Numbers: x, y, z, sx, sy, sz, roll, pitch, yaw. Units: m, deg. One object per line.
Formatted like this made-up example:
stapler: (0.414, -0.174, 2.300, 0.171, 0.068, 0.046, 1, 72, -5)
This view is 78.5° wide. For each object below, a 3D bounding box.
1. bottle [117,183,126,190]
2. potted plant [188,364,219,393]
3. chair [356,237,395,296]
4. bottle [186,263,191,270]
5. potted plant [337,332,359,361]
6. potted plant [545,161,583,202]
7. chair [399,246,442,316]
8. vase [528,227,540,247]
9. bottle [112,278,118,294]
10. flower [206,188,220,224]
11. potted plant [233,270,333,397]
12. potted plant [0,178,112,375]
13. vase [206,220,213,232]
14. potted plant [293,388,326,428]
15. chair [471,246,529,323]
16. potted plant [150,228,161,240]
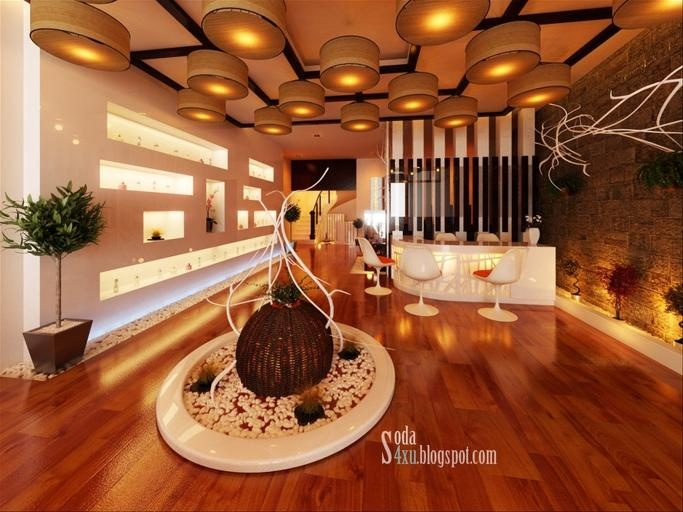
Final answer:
bottle: (-2.960, -0.933, 5.643, 0.102, 0.120, 0.326, -5, 10, -27)
potted plant: (-1.348, 1.192, 4.091, 0.192, 0.143, 0.252, -2, 0, -8)
chair: (0.577, 0.159, 7.081, 0.599, 0.925, 0.555, -2, 9, -22)
bottle: (-2.558, 0.185, 6.997, 0.068, 0.036, 0.093, 5, -24, -16)
potted plant: (0.091, 1.024, 4.625, 0.223, 0.142, 0.349, 3, 9, 19)
potted plant: (3.334, -1.111, 6.262, 0.430, 0.575, 0.562, 1, 12, 7)
chair: (1.171, 0.336, 6.031, 0.585, 0.944, 0.678, 5, 7, 36)
vase: (2.920, -0.290, 6.380, 0.148, 0.245, 0.366, 4, 10, 24)
bottle: (-3.013, 0.391, 5.583, 0.056, 0.165, 0.172, -3, 9, -20)
flower: (-2.445, -0.908, 7.920, 0.203, 0.604, 0.094, -6, 11, -35)
potted plant: (-0.564, 0.691, 4.223, 0.923, 0.922, 0.956, 5, 10, 5)
potted plant: (-3.100, 0.178, 4.591, 0.876, 1.937, 0.936, -8, 12, -43)
vase: (-2.471, -0.541, 7.833, 0.107, 0.191, 0.204, -1, 9, -8)
potted plant: (-0.286, 1.353, 3.772, 0.286, 0.225, 0.263, -3, 9, -18)
chair: (2.125, 0.349, 5.773, 0.605, 0.963, 0.698, 0, 9, 0)
potted plant: (-2.780, -0.327, 6.285, 0.147, 0.152, 0.150, 1, -6, -7)
